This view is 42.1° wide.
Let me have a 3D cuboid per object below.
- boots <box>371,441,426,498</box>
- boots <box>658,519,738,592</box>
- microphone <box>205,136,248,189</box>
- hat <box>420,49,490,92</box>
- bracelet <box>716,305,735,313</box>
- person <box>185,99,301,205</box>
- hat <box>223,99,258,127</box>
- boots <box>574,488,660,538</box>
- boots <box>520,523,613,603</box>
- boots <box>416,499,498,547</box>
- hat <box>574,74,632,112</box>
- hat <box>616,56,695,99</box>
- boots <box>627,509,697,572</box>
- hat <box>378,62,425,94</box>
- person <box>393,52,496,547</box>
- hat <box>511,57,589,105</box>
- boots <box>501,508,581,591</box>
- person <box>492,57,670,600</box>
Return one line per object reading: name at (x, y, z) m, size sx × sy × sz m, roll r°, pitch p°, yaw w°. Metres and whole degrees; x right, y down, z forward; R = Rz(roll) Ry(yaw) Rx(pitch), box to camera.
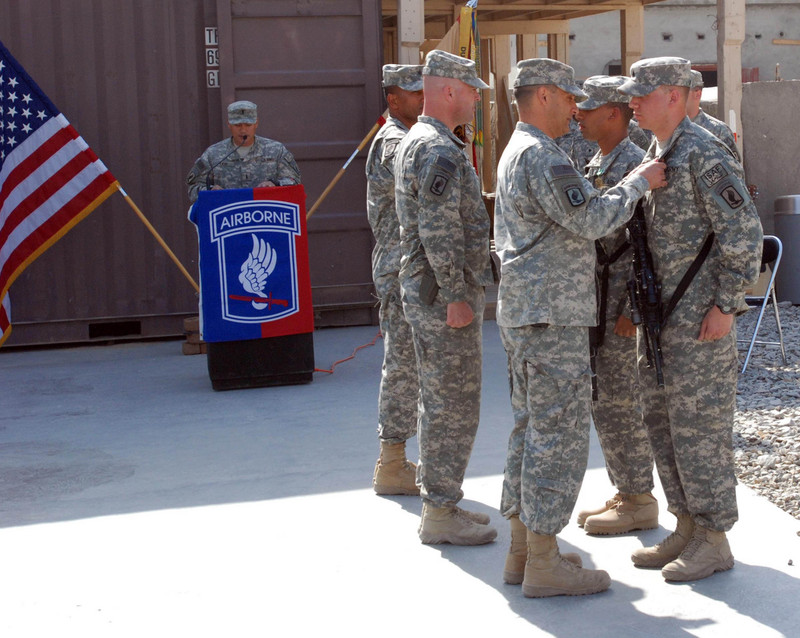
boots at (0.041, 0.791, 5.634) m, size 0.339 × 0.304 × 0.160 m, roll 1°, pitch 4°, yaw 4°
boots at (1.236, 1.037, 4.528) m, size 0.412 × 0.262 × 0.149 m, roll -3°, pitch 2°, yaw -15°
microphone at (-1.397, -1.276, 8.474) m, size 0.327 × 0.387 × 0.221 m, roll 1°, pitch 13°, yaw 13°
hat at (0.259, -1.166, 4.876) m, size 0.294 × 0.111 × 0.180 m, roll 6°, pitch 17°, yaw -9°
bracelet at (1.401, -0.044, 4.446) m, size 0.045 × 0.031 × 0.044 m, roll 2°, pitch 9°, yaw 16°
person at (-1.263, -1.139, 8.512) m, size 0.975 × 1.132 × 0.630 m, roll -1°, pitch 19°, yaw -8°
hat at (-1.262, -1.657, 8.351) m, size 0.209 × 0.183 × 0.231 m, roll -2°, pitch 12°, yaw 0°
boots at (1.071, 0.927, 5.019) m, size 0.303 × 0.116 × 0.217 m, roll -1°, pitch 0°, yaw 1°
boots at (0.706, 1.062, 4.527) m, size 0.543 × 0.348 × 0.178 m, roll -3°, pitch 5°, yaw -11°
boots at (0.286, 0.970, 4.978) m, size 0.318 × 0.183 × 0.196 m, roll -3°, pitch 4°, yaw -3°
hat at (0.939, -1.041, 4.795) m, size 0.240 × 0.079 × 0.149 m, roll -4°, pitch 16°, yaw 1°
hat at (1.131, -1.054, 4.527) m, size 0.272 × 0.113 × 0.170 m, roll -2°, pitch 12°, yaw 0°
boots at (1.203, 0.992, 4.708) m, size 0.346 × 0.197 × 0.121 m, roll -4°, pitch 10°, yaw -14°
hat at (0.005, -1.242, 5.347) m, size 0.186 × 0.084 × 0.139 m, roll 15°, pitch 23°, yaw 28°
person at (0.223, -0.094, 4.944) m, size 0.443 × 2.304 × 0.498 m, roll -2°, pitch 13°, yaw 0°
hat at (0.648, -1.025, 4.414) m, size 0.266 × 0.108 × 0.160 m, roll 0°, pitch 8°, yaw -9°
boots at (0.679, 1.031, 4.673) m, size 0.453 × 0.374 × 0.169 m, roll 10°, pitch 12°, yaw -34°
person at (0.704, 0.029, 4.462) m, size 0.579 × 2.254 × 0.574 m, roll -2°, pitch 13°, yaw 1°
